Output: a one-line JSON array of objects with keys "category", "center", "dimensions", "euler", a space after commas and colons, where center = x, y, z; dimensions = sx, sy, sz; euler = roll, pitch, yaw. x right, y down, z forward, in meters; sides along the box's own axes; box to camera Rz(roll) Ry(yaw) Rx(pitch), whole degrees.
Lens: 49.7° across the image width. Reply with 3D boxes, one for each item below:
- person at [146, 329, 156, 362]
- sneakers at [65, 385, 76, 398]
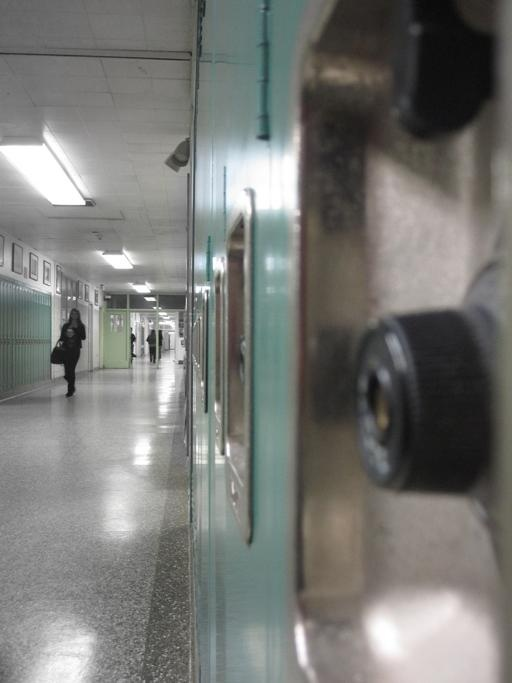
[{"category": "person", "center": [-5.089, 0.238, 26.968], "dimensions": [0.358, 1.643, 2.606], "euler": [0, 0, -10]}, {"category": "sneakers", "center": [-3.645, 0.985, 10.860], "dimensions": [0.161, 0.204, 0.401], "euler": [0, 0, -22]}]
